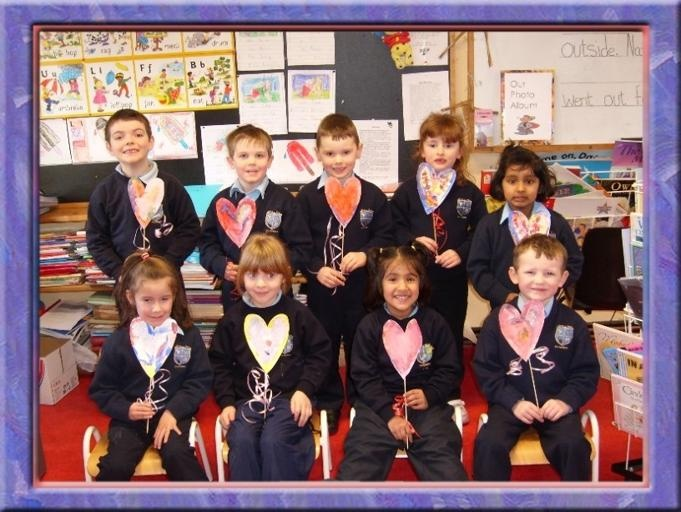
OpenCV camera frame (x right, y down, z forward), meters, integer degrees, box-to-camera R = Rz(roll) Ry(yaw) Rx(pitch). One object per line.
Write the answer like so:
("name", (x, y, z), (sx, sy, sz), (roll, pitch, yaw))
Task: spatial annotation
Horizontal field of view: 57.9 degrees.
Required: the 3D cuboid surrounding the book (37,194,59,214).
("book", (-1.682, -0.302, 3.559), (0.082, 0.106, 0.279), (-7, 11, -20))
